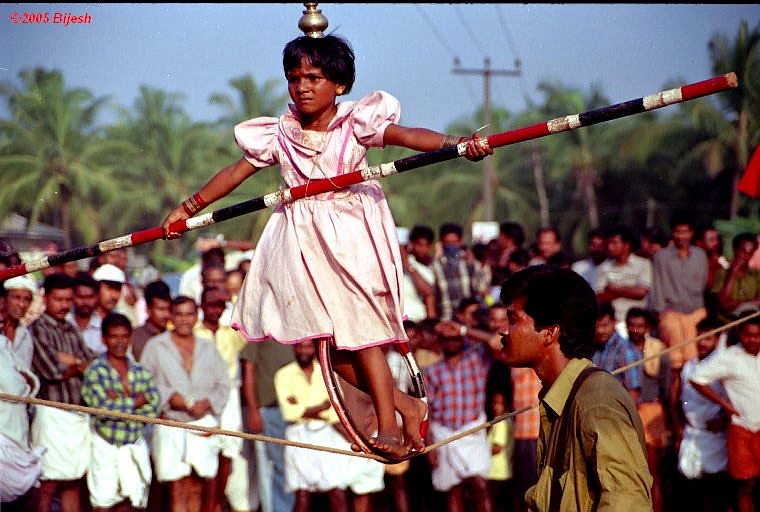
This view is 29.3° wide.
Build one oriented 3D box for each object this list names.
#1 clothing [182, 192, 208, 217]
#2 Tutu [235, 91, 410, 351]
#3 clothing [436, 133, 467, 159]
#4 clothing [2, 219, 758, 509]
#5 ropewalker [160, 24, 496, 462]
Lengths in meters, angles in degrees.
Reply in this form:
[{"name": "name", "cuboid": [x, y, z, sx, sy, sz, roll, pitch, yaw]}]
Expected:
[{"name": "clothing", "cuboid": [-1.456, -0.413, 11.448, 0.183, 0.080, 0.193, 32, -63, -22]}, {"name": "Tutu", "cuboid": [-0.427, -0.245, 11.430, 1.585, 1.872, 0.989, 2, 3, 31]}, {"name": "clothing", "cuboid": [0.523, -0.811, 10.831, 0.202, 0.185, 0.076, -2, -54, 9]}, {"name": "clothing", "cuboid": [-0.537, 1.293, 12.981, 4.070, 1.773, 3.010, -2, 4, -2]}, {"name": "ropewalker", "cuboid": [-0.355, -0.147, 11.211, 1.729, 3.379, 1.606, -6, 19, -40]}]
